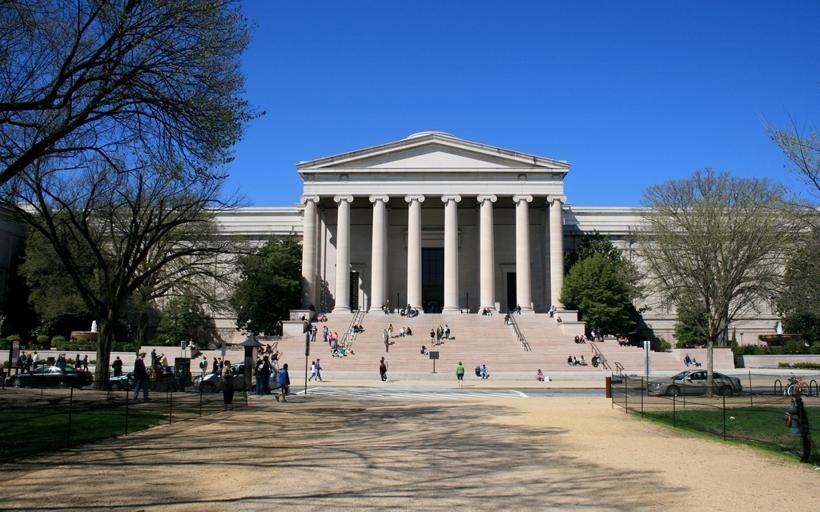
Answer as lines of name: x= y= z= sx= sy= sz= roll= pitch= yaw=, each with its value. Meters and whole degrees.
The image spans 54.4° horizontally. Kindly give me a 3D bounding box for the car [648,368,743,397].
car: x=16.286 y=7.218 z=45.318 sx=7.153 sy=1.437 sz=2.687 roll=8 pitch=-13 yaw=-43
